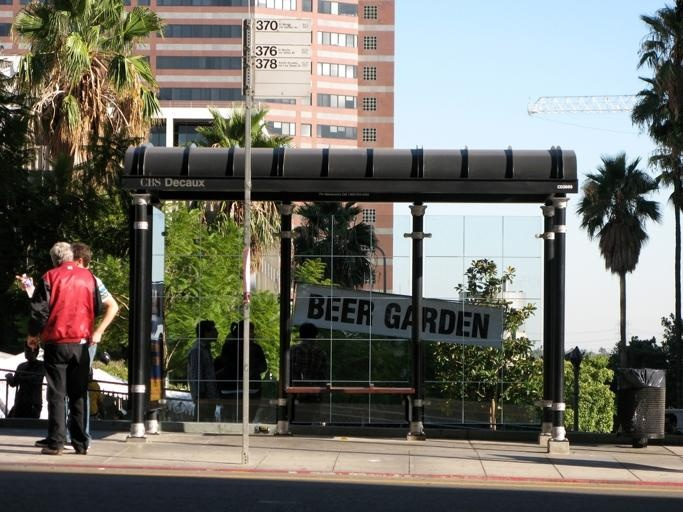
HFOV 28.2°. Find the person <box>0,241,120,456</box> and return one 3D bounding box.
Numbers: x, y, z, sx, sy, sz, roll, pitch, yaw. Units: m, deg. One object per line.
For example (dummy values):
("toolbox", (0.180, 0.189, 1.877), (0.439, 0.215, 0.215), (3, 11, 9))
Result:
("person", (-4.741, 1.584, 23.635), (1.372, 3.693, 0.688), (4, -5, -15))

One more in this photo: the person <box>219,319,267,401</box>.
("person", (-1.915, 2.039, 26.608), (0.924, 1.488, 0.348), (4, -5, -18))

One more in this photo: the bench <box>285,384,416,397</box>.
("bench", (0.269, 2.570, 26.363), (2.355, 0.228, 0.274), (3, -5, 4))
